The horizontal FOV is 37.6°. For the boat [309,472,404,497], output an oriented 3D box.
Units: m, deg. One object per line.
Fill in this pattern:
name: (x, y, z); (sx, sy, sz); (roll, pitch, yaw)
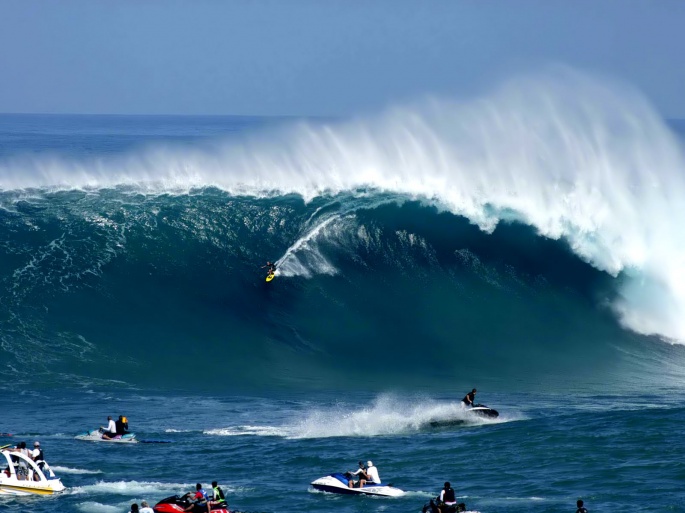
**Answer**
boat: (0.370, 7.778, 33.867); (3.547, 0.856, 1.002); (7, -15, 6)

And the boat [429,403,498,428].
boat: (4.681, 6.165, 38.721); (2.035, 0.456, 1.059); (-9, -3, 8)

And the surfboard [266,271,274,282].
surfboard: (-3.329, 0.954, 47.198); (0.487, 0.432, 0.284); (-4, 12, -18)

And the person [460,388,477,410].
person: (4.976, 5.510, 39.207); (0.366, 0.816, 0.570); (18, -10, 5)

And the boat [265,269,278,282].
boat: (-3.315, 0.922, 47.310); (0.171, 0.347, 0.685); (-12, 10, 25)
